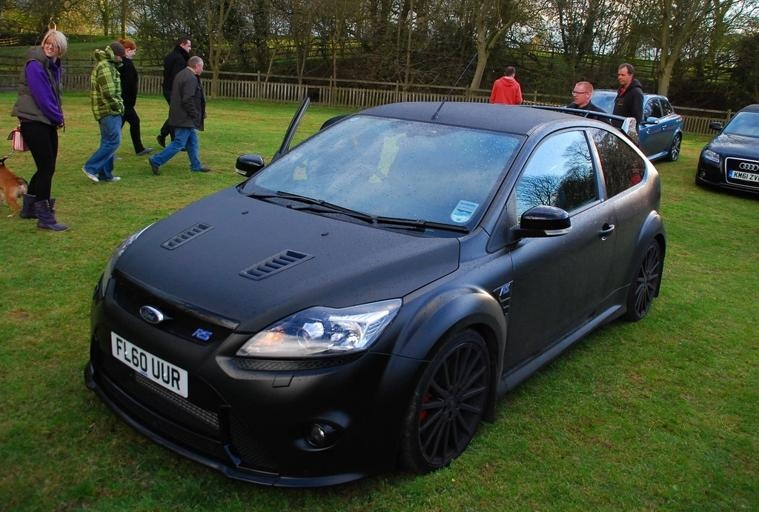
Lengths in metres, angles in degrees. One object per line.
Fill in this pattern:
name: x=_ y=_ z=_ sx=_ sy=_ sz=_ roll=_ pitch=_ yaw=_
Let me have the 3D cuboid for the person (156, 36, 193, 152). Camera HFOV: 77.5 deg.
person: x=-4.618 y=-3.817 z=10.946 sx=0.846 sy=2.409 sz=0.806 roll=3 pitch=-4 yaw=-20

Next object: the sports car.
sports car: x=0.343 y=0.134 z=3.859 sx=2.450 sy=1.886 sz=4.156 roll=16 pitch=21 yaw=40

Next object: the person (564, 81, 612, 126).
person: x=3.454 y=-2.598 z=7.955 sx=0.459 sy=0.652 sz=0.942 roll=-10 pitch=22 yaw=-12

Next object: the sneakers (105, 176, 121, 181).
sneakers: x=-4.597 y=-1.333 z=8.177 sx=0.195 sy=0.084 sz=0.075 roll=-19 pitch=37 yaw=-30
